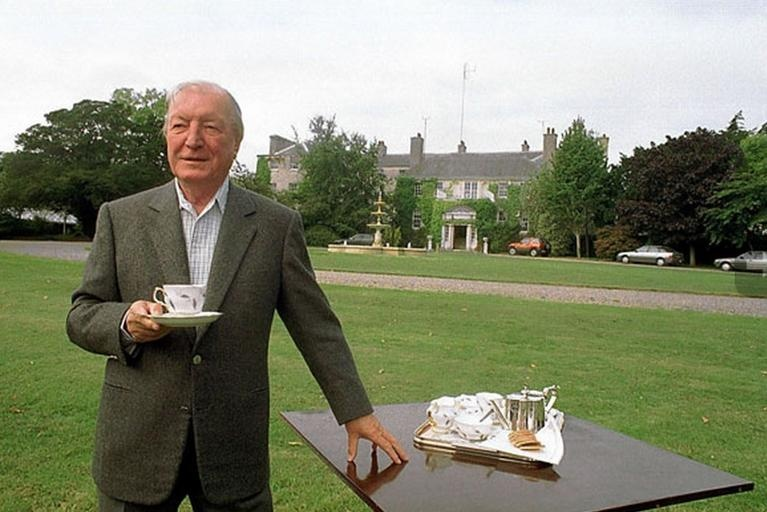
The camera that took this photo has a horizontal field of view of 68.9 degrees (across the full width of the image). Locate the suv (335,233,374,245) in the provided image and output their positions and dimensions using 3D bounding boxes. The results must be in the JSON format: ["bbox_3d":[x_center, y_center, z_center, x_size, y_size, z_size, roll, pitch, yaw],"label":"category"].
[{"bbox_3d":[-1.788,-1.066,36.866,1.879,0.869,1.061,3,3,-1],"label":"suv"}]

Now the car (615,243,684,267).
[{"bbox_3d":[15.007,0.001,31.685,1.315,0.957,3.030,0,4,-45],"label":"car"}]

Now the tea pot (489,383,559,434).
[{"bbox_3d":[0.841,0.891,3.304,0.353,0.239,0.236,10,-10,-42],"label":"tea pot"}]

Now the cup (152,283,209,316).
[{"bbox_3d":[-1.000,0.207,2.762,0.193,0.128,0.170,-4,-2,19],"label":"cup"}]

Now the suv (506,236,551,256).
[{"bbox_3d":[10.666,-0.631,41.019,2.332,1.069,1.360,7,5,33],"label":"suv"}]

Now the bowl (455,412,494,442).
[{"bbox_3d":[0.486,0.912,3.020,0.145,0.062,0.147,0,4,0],"label":"bowl"}]

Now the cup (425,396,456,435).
[{"bbox_3d":[0.318,0.868,3.090,0.151,0.143,0.163,1,-8,0],"label":"cup"}]
